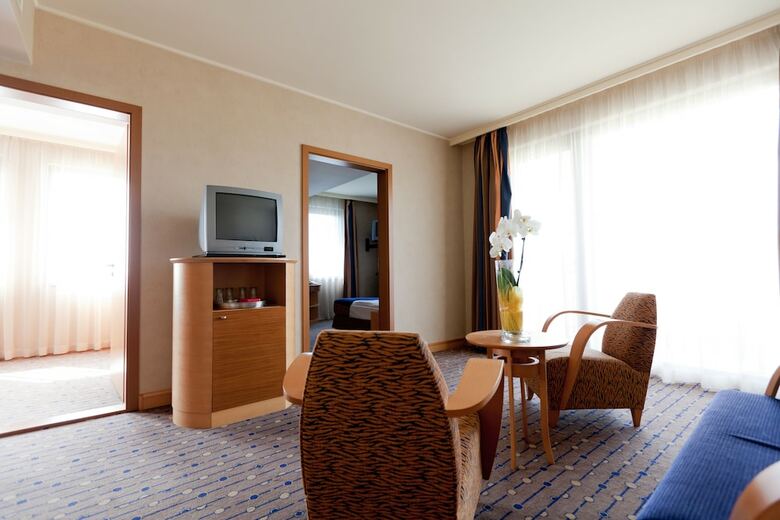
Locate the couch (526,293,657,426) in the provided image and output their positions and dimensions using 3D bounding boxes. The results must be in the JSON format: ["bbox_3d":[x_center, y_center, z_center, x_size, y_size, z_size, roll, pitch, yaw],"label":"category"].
[{"bbox_3d":[1.883,0.856,4.942,1.239,1.097,1.233,1,2,-7],"label":"couch"}]

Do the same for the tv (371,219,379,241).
[{"bbox_3d":[-0.329,-0.647,11.061,0.110,0.455,0.191,-1,1,9],"label":"tv"}]

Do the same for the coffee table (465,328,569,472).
[{"bbox_3d":[1.227,1.267,4.451,0.644,0.700,0.619,-10,-13,42],"label":"coffee table"}]

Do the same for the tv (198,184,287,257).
[{"bbox_3d":[-1.465,-0.331,5.210,0.918,0.764,0.632,4,-5,-43],"label":"tv"}]

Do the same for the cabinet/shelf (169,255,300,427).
[{"bbox_3d":[-1.513,0.728,5.029,1.065,1.526,0.453,-1,1,-25],"label":"cabinet/shelf"}]

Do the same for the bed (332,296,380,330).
[{"bbox_3d":[-0.473,0.781,7.958,0.554,0.259,0.547,-1,-3,-16],"label":"bed"}]
